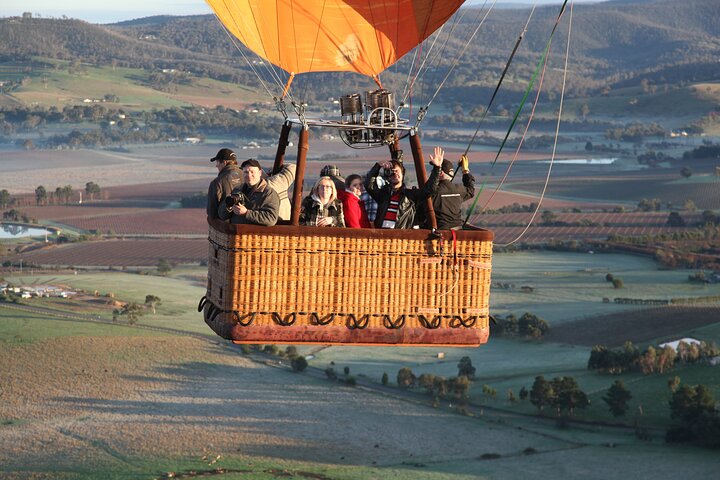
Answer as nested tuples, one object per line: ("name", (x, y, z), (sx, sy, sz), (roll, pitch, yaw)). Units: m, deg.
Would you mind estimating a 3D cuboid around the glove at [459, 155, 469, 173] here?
("glove", (5.991, -4.421, 90.699), (0.787, 0.882, 0.337), (-23, 19, -39))
